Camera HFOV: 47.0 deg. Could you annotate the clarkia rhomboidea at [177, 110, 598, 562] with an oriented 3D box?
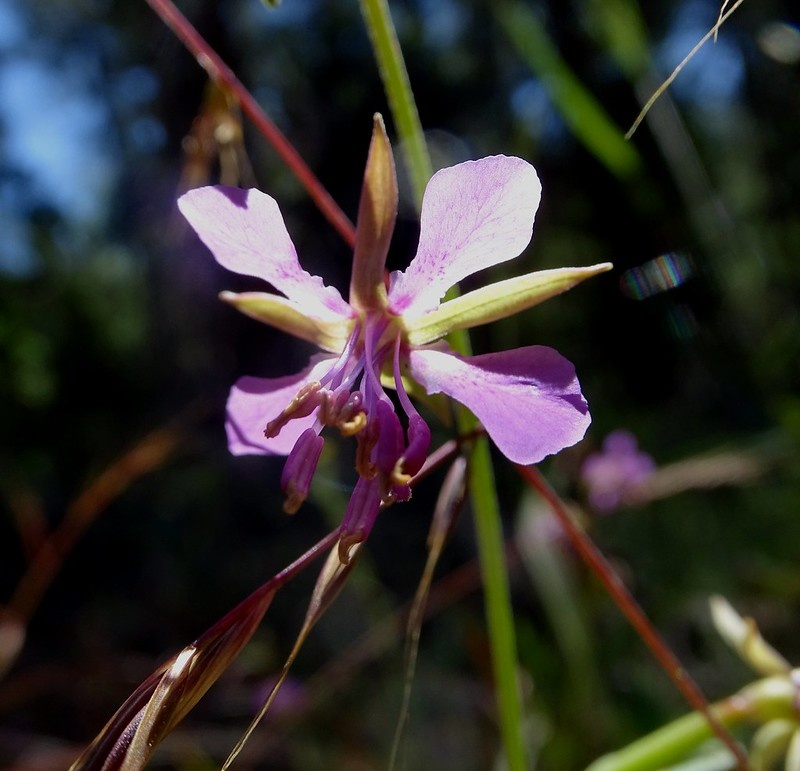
[{"bbox_3d":[-0.021,-0.100,1.718,0.843,0.675,0.452,-22,-36,10],"label":"clarkia rhomboidea"}]
